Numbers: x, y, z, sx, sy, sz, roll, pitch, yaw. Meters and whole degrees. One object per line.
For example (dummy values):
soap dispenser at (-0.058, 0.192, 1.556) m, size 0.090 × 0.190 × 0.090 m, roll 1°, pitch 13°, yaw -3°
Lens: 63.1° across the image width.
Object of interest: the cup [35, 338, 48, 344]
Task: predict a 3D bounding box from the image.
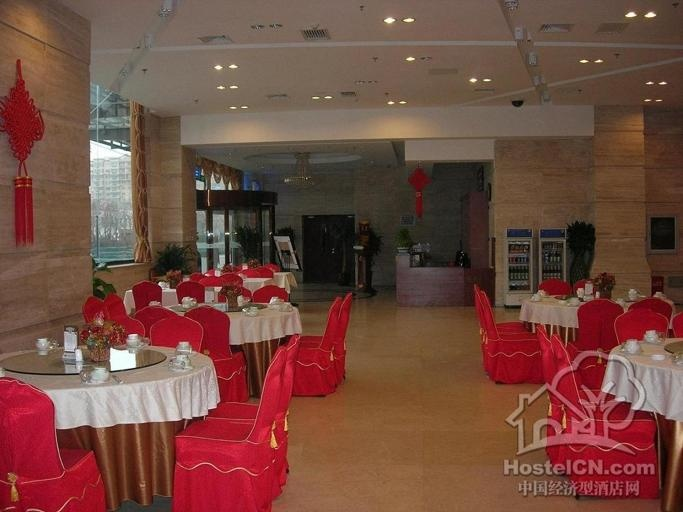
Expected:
cup at (-2.556, 0.727, 4.725) m, size 0.087 × 0.053 × 0.093 m, roll 1°, pitch -4°, yaw 0°

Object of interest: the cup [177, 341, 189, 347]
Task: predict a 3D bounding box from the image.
cup at (-1.299, 0.722, 4.532) m, size 0.085 × 0.067 × 0.087 m, roll 3°, pitch 1°, yaw 0°

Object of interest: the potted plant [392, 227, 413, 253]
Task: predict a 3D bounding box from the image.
potted plant at (1.624, -0.355, 14.002) m, size 0.370 × 0.589 × 0.487 m, roll -3°, pitch 4°, yaw 0°

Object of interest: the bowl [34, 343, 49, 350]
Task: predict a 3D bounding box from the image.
bowl at (-2.537, 0.755, 4.668) m, size 0.073 × 0.083 × 0.084 m, roll 1°, pitch -4°, yaw -2°

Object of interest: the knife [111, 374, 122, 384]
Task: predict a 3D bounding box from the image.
knife at (-1.603, 0.874, 3.933) m, size 0.038 × 0.022 × 0.131 m, roll -1°, pitch 5°, yaw -26°

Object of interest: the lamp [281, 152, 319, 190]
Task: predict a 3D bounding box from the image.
lamp at (-1.125, -2.241, 15.156) m, size 1.015 × 1.029 × 1.049 m, roll 1°, pitch 3°, yaw -1°
